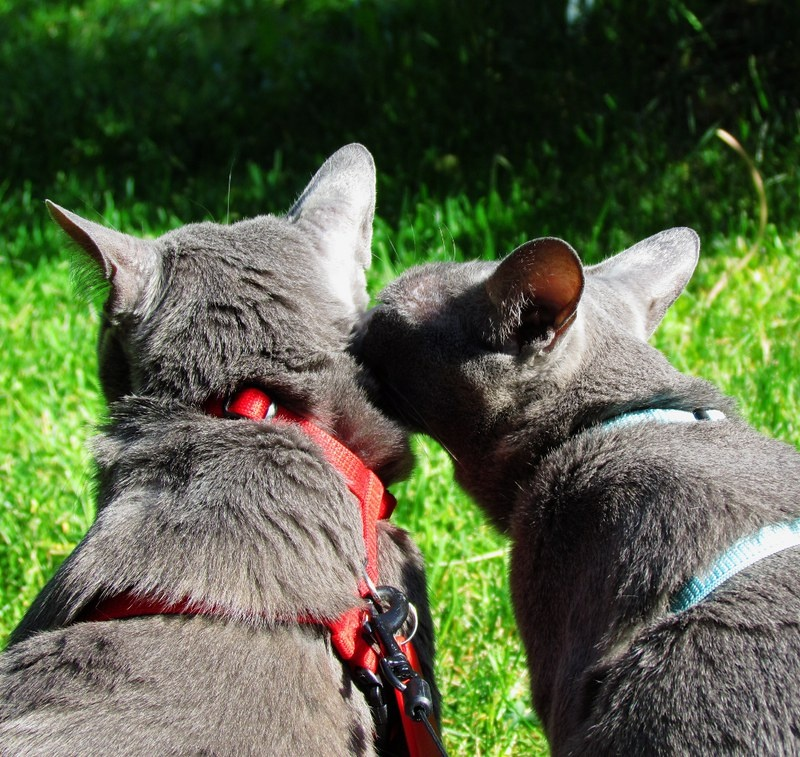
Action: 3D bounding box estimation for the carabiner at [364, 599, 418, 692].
[{"bbox_3d":[-0.014,0.550,1.993,0.096,0.038,0.192,31,37,-34],"label":"carabiner"}]
